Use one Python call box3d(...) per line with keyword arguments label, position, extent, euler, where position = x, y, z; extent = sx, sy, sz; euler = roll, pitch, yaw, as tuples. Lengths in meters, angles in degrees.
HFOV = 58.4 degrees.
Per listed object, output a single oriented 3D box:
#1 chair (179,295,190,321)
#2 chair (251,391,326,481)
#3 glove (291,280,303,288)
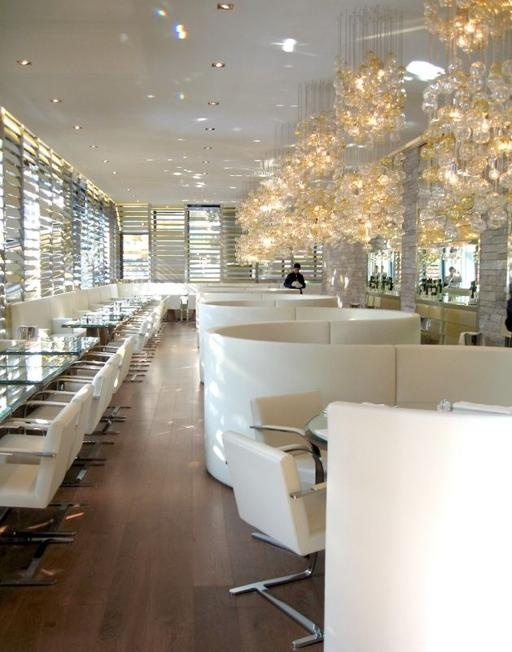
box3d(label="chair", position=(-2.568, -0.623, 16.597), extent=(0.374, 0.933, 0.802), euler=(0, 3, -10))
box3d(label="chair", position=(0.265, 0.578, 2.494), extent=(0.387, 0.529, 0.391), euler=(0, -3, -35))
box3d(label="glove", position=(1.035, -1.039, 11.458), extent=(0.169, 0.196, 0.197), euler=(8, 14, 27))
